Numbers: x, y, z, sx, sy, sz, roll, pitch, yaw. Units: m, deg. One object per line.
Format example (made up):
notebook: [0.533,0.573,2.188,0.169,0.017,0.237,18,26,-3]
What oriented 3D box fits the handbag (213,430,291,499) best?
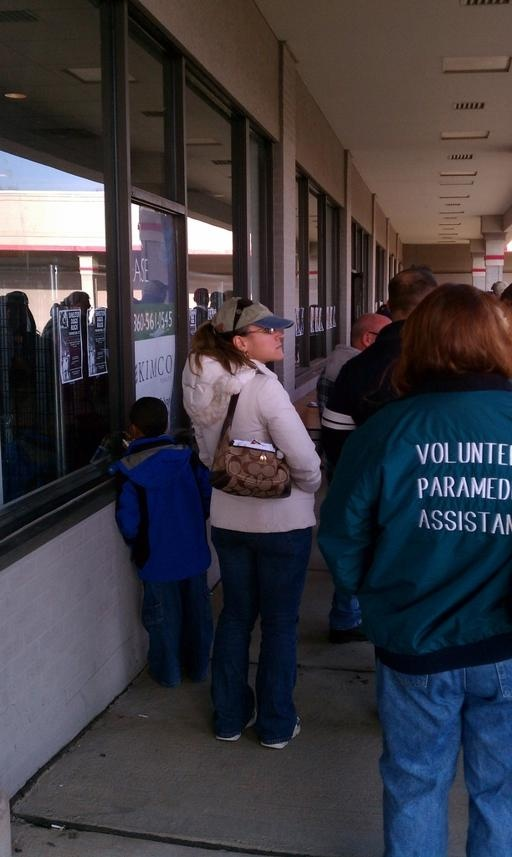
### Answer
handbag: [-0.007,0.097,1.847,0.155,0.151,0.077,8,9,-10]

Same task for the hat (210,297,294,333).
hat: [-0.024,-0.332,2.016,0.181,0.080,0.120,1,10,4]
